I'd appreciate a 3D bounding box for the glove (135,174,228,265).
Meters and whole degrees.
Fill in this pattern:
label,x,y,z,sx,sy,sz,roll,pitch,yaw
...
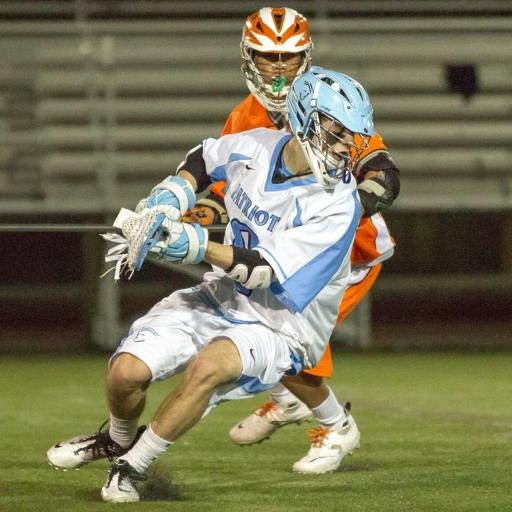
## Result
label,x,y,z,sx,sy,sz,roll,pitch,yaw
glove,-0.286,-0.195,3.931,0.342,0.138,0.232,12,12,-37

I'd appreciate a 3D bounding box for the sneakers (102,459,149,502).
label,x,y,z,sx,sy,sz,roll,pitch,yaw
sneakers,-0.481,0.828,3.472,0.154,0.153,0.086,-2,3,-8

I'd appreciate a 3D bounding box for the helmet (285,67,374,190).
label,x,y,z,sx,sy,sz,roll,pitch,yaw
helmet,0.270,-0.490,3.611,0.354,0.474,0.208,-1,4,18

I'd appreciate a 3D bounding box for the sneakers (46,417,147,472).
label,x,y,z,sx,sy,sz,roll,pitch,yaw
sneakers,-0.585,0.754,3.859,0.477,0.161,0.148,-6,36,-8

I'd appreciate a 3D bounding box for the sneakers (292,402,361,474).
label,x,y,z,sx,sy,sz,roll,pitch,yaw
sneakers,0.344,0.812,4.051,0.148,0.161,0.401,-10,6,36

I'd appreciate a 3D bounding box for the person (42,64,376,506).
label,x,y,z,sx,sy,sz,roll,pitch,yaw
person,-0.107,0.078,3.696,1.118,1.619,0.637,-2,4,-9
